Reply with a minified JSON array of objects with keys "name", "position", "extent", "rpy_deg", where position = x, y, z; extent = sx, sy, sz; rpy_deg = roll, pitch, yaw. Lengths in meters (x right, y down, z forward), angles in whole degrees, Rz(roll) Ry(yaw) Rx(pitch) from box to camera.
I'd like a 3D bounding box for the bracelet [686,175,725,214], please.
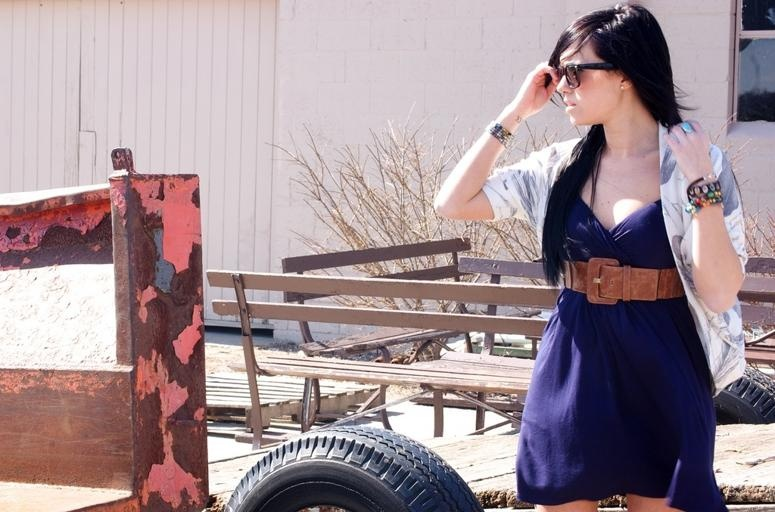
[{"name":"bracelet","position":[1.344,-0.248,4.451],"extent":[0.132,0.127,0.168],"rpy_deg":[3,-13,-29]}]
